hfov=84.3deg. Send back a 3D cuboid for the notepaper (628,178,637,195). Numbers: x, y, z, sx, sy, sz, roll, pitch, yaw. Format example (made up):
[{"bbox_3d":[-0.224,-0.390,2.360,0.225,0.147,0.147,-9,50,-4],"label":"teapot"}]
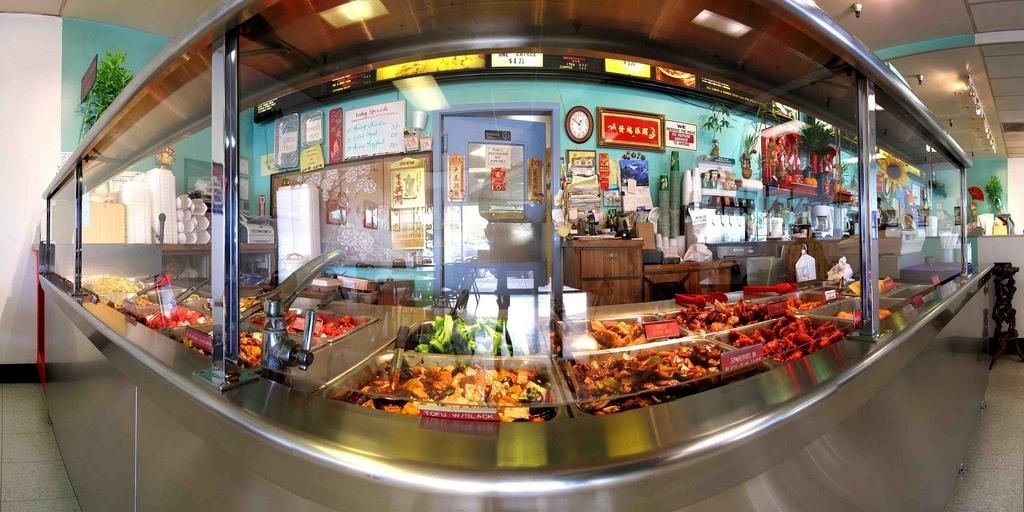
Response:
[{"bbox_3d":[0.746,-0.442,3.581,0.070,0.088,0.029,0,-1,-40],"label":"notepaper"}]

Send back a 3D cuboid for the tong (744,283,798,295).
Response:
[{"bbox_3d":[1.679,0.223,3.725,0.165,0.046,0.154,-4,7,-25],"label":"tong"}]

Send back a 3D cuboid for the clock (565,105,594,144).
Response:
[{"bbox_3d":[0.409,-0.801,3.453,0.025,0.227,0.261,-12,20,-32],"label":"clock"}]

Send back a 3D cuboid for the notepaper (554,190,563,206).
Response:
[{"bbox_3d":[0.276,-0.347,3.426,0.094,0.077,0.026,0,7,-10],"label":"notepaper"}]

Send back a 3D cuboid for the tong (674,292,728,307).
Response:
[{"bbox_3d":[1.209,0.280,3.651,0.259,0.063,0.138,-1,-2,2],"label":"tong"}]

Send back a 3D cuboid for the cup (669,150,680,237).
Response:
[{"bbox_3d":[1.021,-0.394,3.584,0.067,0.523,0.086,-1,-1,14],"label":"cup"}]

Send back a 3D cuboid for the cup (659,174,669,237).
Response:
[{"bbox_3d":[0.952,-0.324,3.591,0.066,0.371,0.080,-1,-1,16],"label":"cup"}]

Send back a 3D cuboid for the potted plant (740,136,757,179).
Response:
[{"bbox_3d":[1.503,-0.642,3.645,0.107,0.274,0.075,0,-1,-12],"label":"potted plant"}]

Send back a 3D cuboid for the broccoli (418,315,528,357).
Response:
[{"bbox_3d":[-0.289,0.469,3.465,0.498,0.144,0.286,-2,-2,-5],"label":"broccoli"}]

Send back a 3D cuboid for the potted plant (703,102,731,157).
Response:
[{"bbox_3d":[1.279,-0.795,3.581,0.132,0.322,0.101,0,-1,-32],"label":"potted plant"}]
